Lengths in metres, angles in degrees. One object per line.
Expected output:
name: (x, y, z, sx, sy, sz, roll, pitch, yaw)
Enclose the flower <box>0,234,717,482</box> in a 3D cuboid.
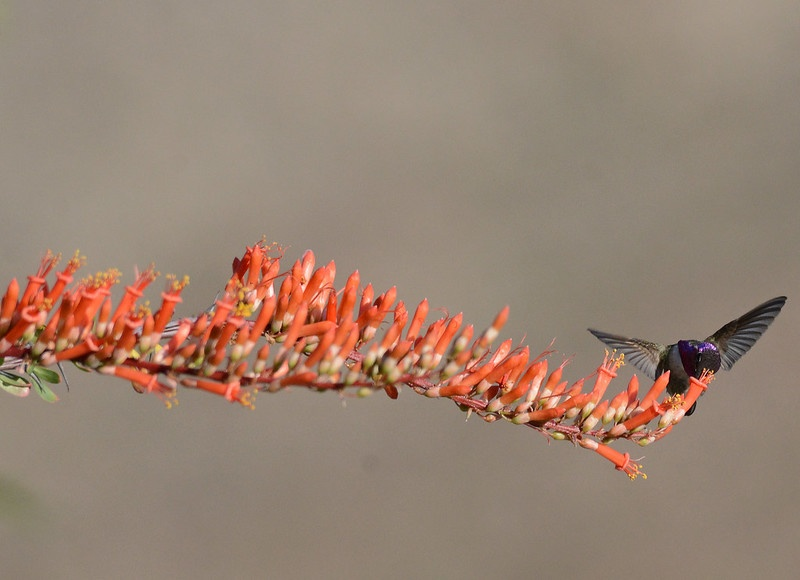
flower: (-0.369, 0.248, 5.773, 2.784, 0.675, 0.576, 8, -10, -2)
